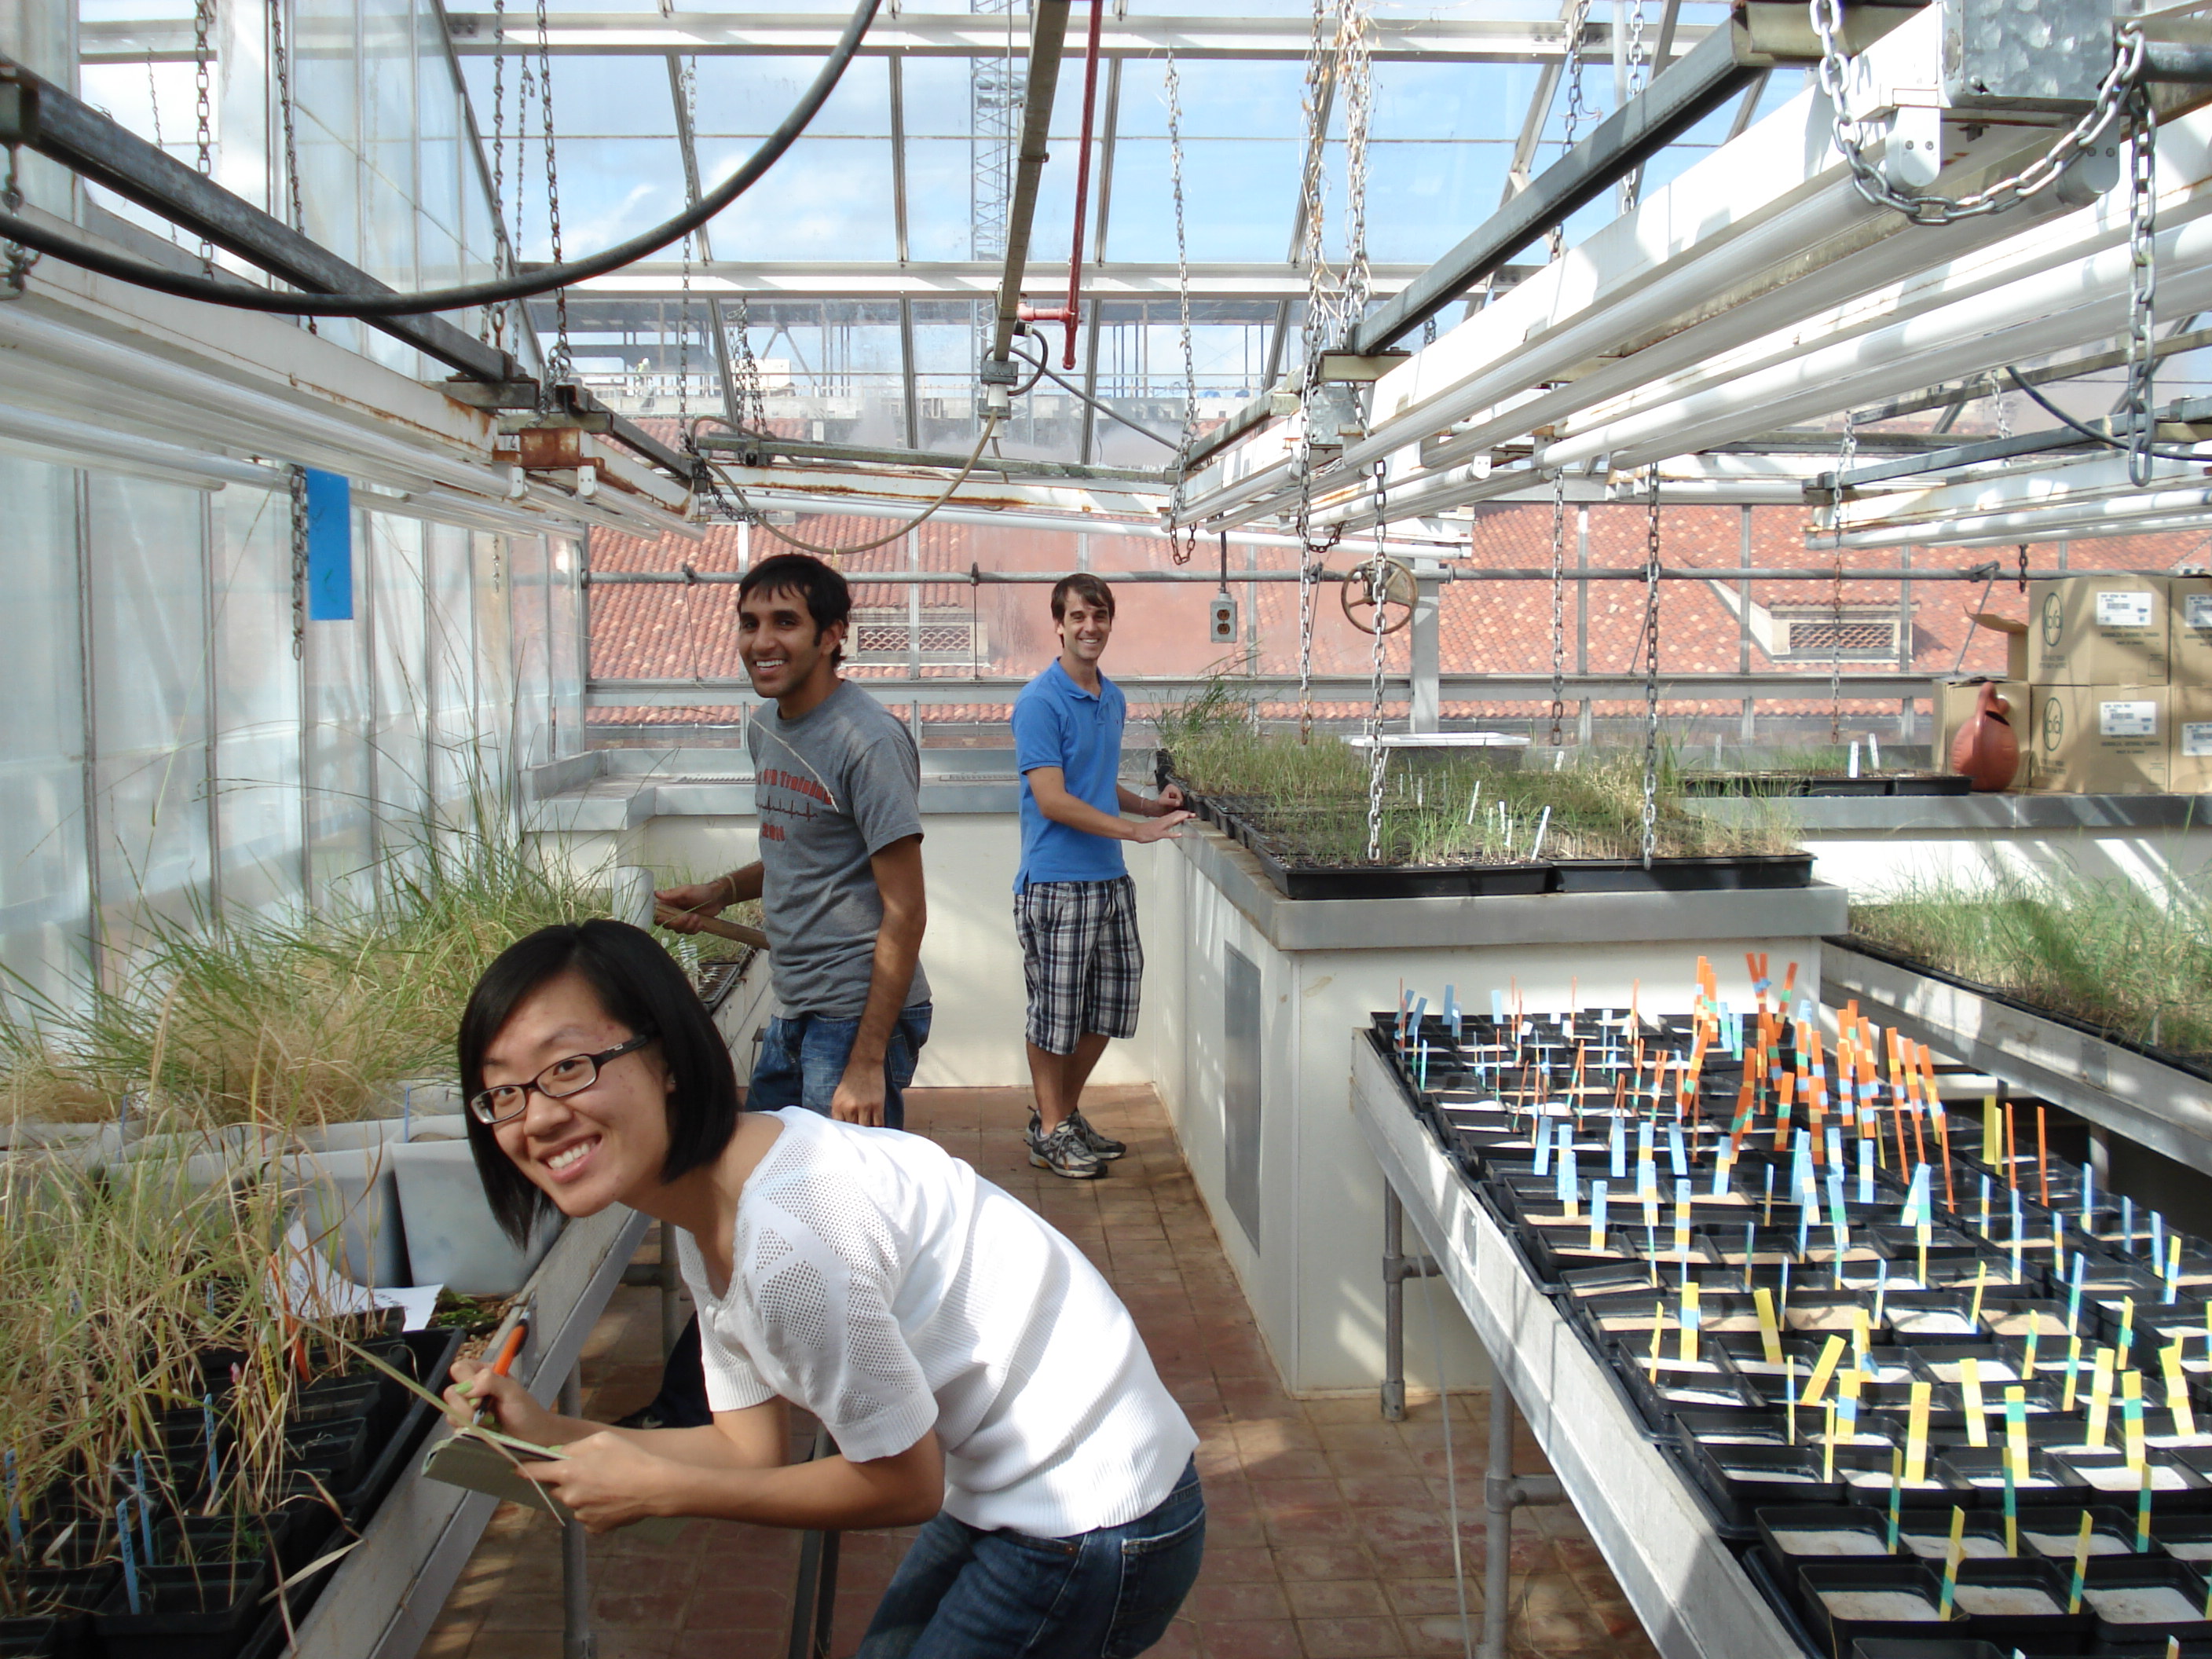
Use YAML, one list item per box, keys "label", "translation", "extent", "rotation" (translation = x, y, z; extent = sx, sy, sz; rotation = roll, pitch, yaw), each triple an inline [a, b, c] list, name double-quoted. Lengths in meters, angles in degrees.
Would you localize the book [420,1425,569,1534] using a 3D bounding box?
- label: "book"
  translation: [-0.655, 0.670, 1.774]
  extent: [0.136, 0.037, 0.153]
  rotation: [10, -20, 22]
